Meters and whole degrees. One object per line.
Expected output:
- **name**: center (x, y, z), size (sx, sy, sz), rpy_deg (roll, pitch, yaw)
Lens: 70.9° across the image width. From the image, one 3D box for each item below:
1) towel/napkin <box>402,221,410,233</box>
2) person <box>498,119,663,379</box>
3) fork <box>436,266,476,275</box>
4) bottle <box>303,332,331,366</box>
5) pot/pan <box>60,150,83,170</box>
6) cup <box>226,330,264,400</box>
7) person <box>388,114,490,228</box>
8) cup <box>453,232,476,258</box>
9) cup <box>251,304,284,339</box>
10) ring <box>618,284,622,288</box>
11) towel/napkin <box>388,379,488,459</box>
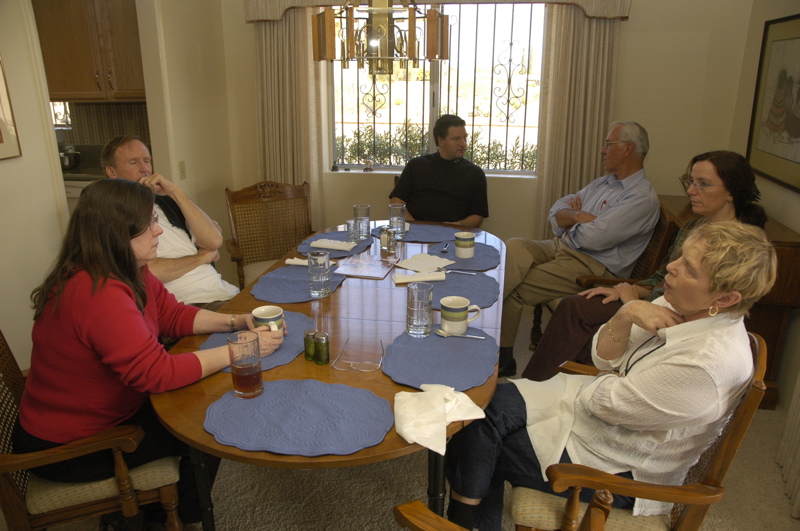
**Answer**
- **towel/napkin**: center (0.038, -0.273, 3.939), size (0.071, 0.100, 0.079), rpy_deg (0, 12, -3)
- **person**: center (1.193, -0.073, 4.220), size (1.056, 1.985, 0.718), rpy_deg (7, 21, -6)
- **fork**: center (0.304, 0.031, 3.183), size (0.124, 0.020, 0.022), rpy_deg (12, 36, 21)
- **bottle**: center (-0.359, 0.362, 2.416), size (0.108, 0.149, 0.190), rpy_deg (-1, 5, -25)
- **pot/pan**: center (-3.070, -1.000, 5.326), size (0.170, 0.179, 0.177), rpy_deg (1, 18, -2)
- **cup**: center (-0.620, 0.395, 2.254), size (0.110, 0.239, 0.148), rpy_deg (-6, 18, -13)
- **person**: center (0.326, -0.774, 4.713), size (0.920, 0.958, 0.572), rpy_deg (10, 23, 18)
- **cup**: center (0.381, -0.122, 3.442), size (0.133, 0.143, 0.136), rpy_deg (-1, 21, 0)
- **cup**: center (-0.593, 0.251, 2.543), size (0.101, 0.117, 0.162), rpy_deg (-1, 16, -11)
- **ring**: center (1.347, 0.128, 3.460), size (0.021, 0.007, 0.021), rpy_deg (-10, 13, 2)
- **towel/napkin**: center (0.135, 0.562, 2.108), size (0.280, 0.081, 0.270), rpy_deg (21, 31, 27)
